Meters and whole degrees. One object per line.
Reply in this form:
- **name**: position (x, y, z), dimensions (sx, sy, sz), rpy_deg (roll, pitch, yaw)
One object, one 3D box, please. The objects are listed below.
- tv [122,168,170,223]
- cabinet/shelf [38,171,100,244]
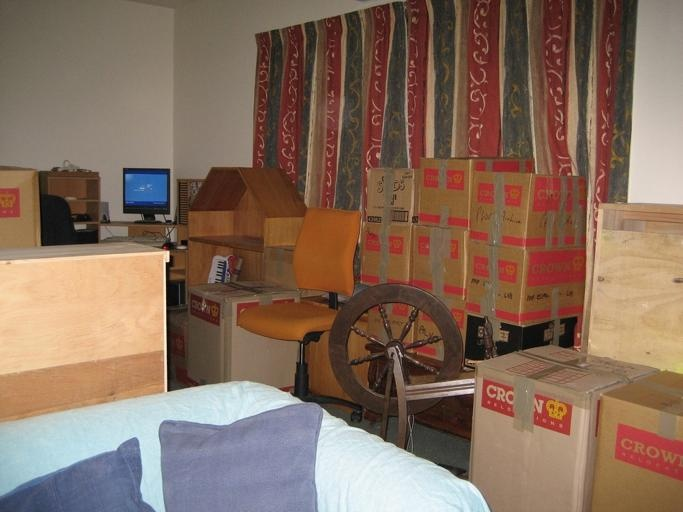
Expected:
- **tv**: position (-1.995, -0.644, 5.394), dimensions (0.435, 0.525, 0.170), rpy_deg (-3, 21, -26)
- **cabinet/shelf**: position (-2.681, -0.371, 5.257), dimensions (0.286, 0.976, 0.482), rpy_deg (9, 11, 40)
